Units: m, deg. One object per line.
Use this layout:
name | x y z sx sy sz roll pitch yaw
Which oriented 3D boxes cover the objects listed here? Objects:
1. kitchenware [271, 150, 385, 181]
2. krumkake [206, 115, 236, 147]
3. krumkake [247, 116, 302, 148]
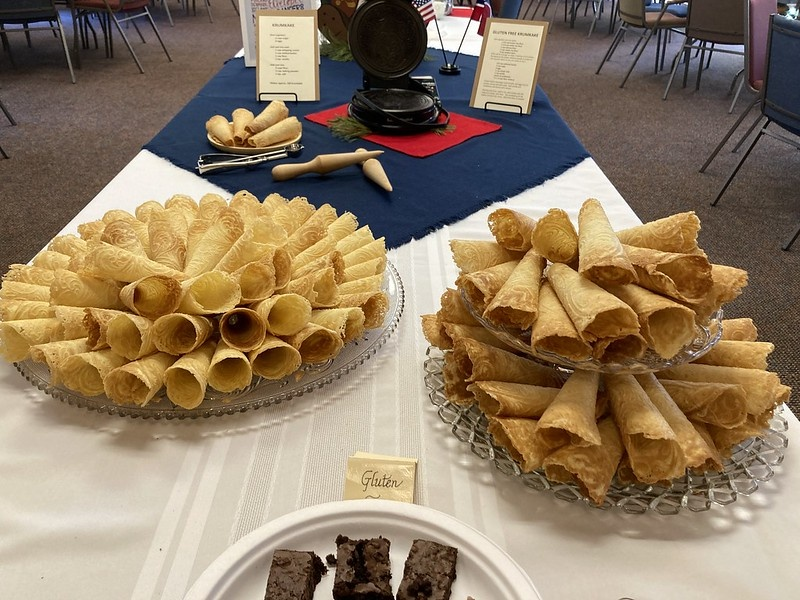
kitchenware | -0.188 -0.347 1.358 0.299 0.053 0.056 -12 86 -14
krumkake | -0.510 -0.481 1.490 0.080 0.067 0.123 -26 40 -7
krumkake | -0.347 -0.464 1.471 0.139 0.062 0.076 -29 47 -34
